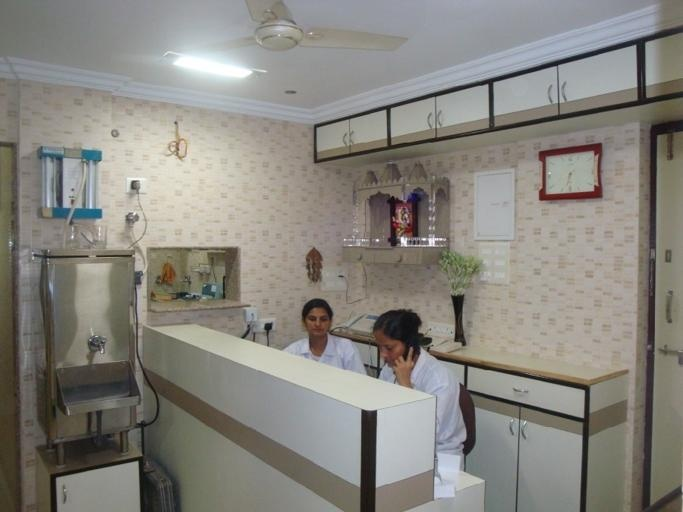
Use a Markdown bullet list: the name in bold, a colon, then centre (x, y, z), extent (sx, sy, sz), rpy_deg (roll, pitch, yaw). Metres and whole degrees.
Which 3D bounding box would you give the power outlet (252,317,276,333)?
- **power outlet**: centre (-0.674, 0.609, 4.698), extent (0.245, 0.132, 0.068), rpy_deg (-7, 7, -38)

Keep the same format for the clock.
- **clock**: centre (1.618, -0.584, 3.727), extent (0.419, 0.384, 0.050), rpy_deg (1, 1, 44)

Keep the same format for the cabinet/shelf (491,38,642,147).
- **cabinet/shelf**: centre (1.385, -1.043, 3.404), extent (0.970, 0.373, 0.095), rpy_deg (-1, 8, 42)

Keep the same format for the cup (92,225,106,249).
- **cup**: centre (-1.693, -0.132, 3.708), extent (0.086, 0.157, 0.107), rpy_deg (-6, 6, -29)

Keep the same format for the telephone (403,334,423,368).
- **telephone**: centre (0.421, 0.561, 3.173), extent (0.046, 0.161, 0.150), rpy_deg (2, -4, 36)

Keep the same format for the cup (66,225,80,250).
- **cup**: centre (-1.882, -0.139, 3.717), extent (0.082, 0.152, 0.085), rpy_deg (-3, 6, 0)

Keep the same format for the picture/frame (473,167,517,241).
- **picture/frame**: centre (1.190, -0.394, 4.176), extent (0.328, 0.553, 0.070), rpy_deg (0, 0, 37)

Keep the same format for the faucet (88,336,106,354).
- **faucet**: centre (-1.508, 0.535, 3.347), extent (0.089, 0.139, 0.131), rpy_deg (-6, -7, 36)

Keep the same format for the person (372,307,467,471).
- **person**: centre (0.481, 0.752, 3.133), extent (0.356, 0.847, 0.494), rpy_deg (-7, 7, -39)

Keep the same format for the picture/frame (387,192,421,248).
- **picture/frame**: centre (0.551, -0.314, 4.643), extent (0.446, 0.647, 0.052), rpy_deg (-1, -3, 41)
